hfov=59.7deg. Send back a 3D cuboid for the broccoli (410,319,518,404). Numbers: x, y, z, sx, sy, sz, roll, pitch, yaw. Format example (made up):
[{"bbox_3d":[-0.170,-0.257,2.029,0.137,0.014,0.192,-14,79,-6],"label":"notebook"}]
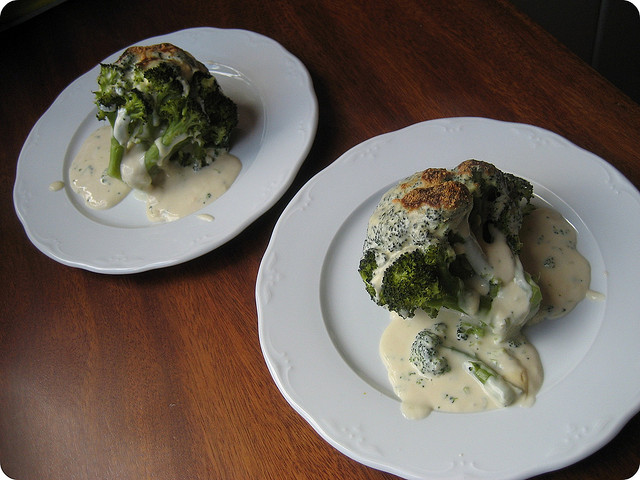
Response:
[{"bbox_3d":[0.499,0.439,1.957,0.311,0.146,0.189,29,59,31],"label":"broccoli"}]

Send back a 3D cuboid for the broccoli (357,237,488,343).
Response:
[{"bbox_3d":[0.385,0.165,2.058,0.488,0.196,0.301,46,103,10],"label":"broccoli"}]
